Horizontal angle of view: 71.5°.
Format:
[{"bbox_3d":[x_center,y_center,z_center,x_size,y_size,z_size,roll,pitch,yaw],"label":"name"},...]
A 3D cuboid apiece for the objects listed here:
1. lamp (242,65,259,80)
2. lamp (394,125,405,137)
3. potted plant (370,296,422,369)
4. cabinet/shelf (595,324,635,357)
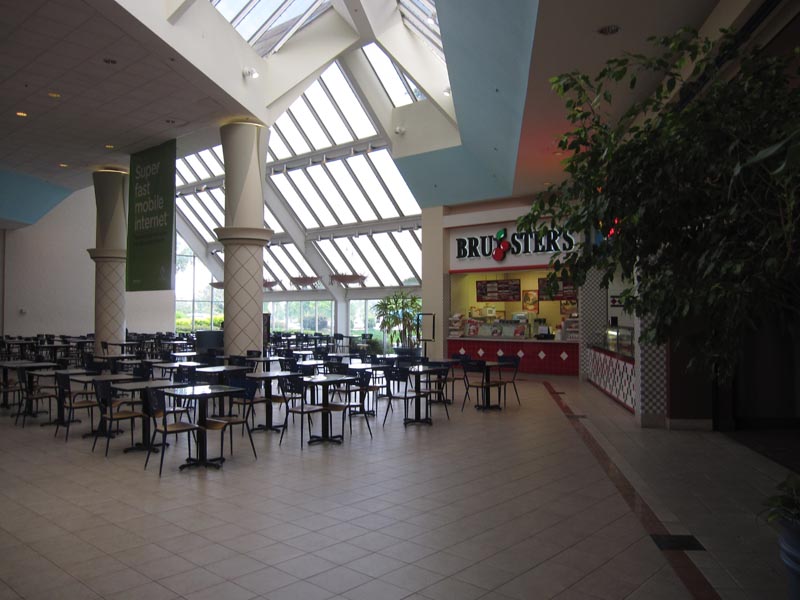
[{"bbox_3d":[-2.462,-3.771,9.157,0.131,0.186,0.238,16,5,-38],"label":"lamp"},{"bbox_3d":[-0.007,-4.001,12.993,0.160,0.193,0.236,1,-3,23],"label":"lamp"},{"bbox_3d":[-0.231,0.664,15.784,1.500,1.966,1.441,-2,0,-37],"label":"potted plant"},{"bbox_3d":[3.778,0.696,9.848,0.196,0.601,2.957,0,1,12],"label":"cabinet/shelf"}]
